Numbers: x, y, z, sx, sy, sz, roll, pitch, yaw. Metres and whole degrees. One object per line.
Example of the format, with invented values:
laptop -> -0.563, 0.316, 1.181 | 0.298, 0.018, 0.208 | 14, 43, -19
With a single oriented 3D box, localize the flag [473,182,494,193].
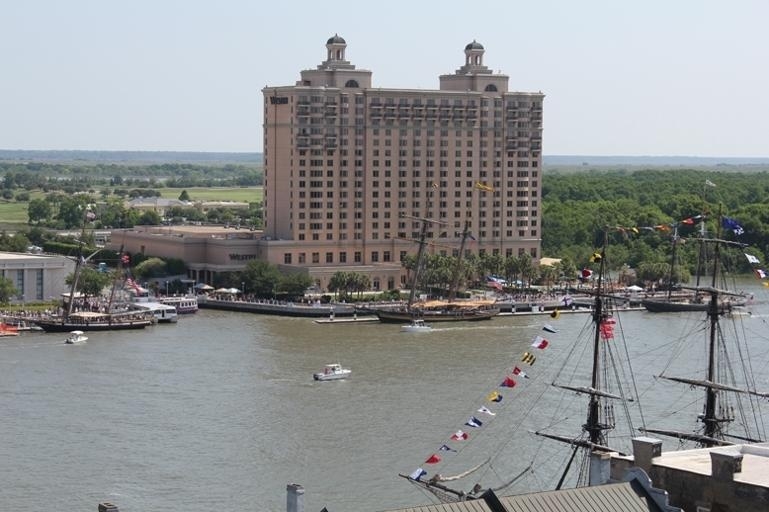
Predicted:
flag -> 12.616, -8.342, 216.248 | 2.957, 1.102, 1.711 | 7, 4, -37
